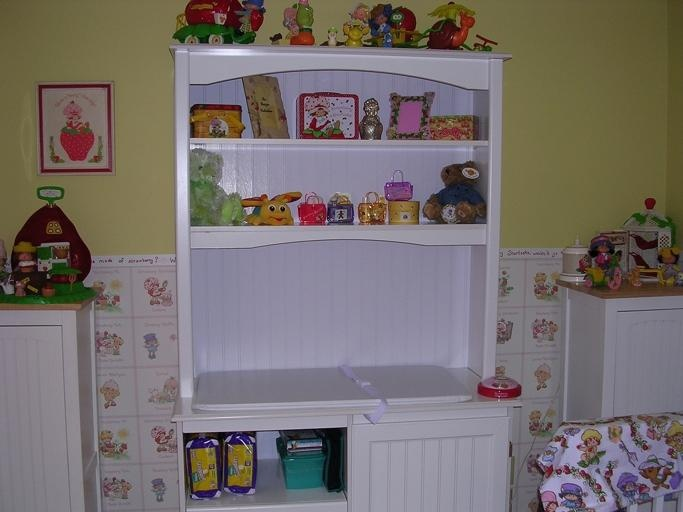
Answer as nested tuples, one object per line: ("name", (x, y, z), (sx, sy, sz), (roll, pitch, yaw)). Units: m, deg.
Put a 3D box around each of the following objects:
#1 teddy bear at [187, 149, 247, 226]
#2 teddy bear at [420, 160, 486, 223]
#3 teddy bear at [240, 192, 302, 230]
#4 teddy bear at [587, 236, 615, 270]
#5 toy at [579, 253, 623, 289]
("teddy bear", (-0.584, -0.289, 2.791), (0.234, 0.351, 0.119), (-17, 13, -24))
("teddy bear", (0.543, -0.301, 3.021), (0.325, 0.354, 0.222), (0, -12, 29))
("teddy bear", (-0.321, -0.218, 2.901), (0.265, 0.153, 0.285), (3, 7, 22))
("teddy bear", (1.300, -0.001, 3.095), (0.128, 0.199, 0.103), (-7, -4, -19))
("toy", (1.300, 0.046, 3.085), (0.183, 0.207, 0.142), (-5, 5, 40))
